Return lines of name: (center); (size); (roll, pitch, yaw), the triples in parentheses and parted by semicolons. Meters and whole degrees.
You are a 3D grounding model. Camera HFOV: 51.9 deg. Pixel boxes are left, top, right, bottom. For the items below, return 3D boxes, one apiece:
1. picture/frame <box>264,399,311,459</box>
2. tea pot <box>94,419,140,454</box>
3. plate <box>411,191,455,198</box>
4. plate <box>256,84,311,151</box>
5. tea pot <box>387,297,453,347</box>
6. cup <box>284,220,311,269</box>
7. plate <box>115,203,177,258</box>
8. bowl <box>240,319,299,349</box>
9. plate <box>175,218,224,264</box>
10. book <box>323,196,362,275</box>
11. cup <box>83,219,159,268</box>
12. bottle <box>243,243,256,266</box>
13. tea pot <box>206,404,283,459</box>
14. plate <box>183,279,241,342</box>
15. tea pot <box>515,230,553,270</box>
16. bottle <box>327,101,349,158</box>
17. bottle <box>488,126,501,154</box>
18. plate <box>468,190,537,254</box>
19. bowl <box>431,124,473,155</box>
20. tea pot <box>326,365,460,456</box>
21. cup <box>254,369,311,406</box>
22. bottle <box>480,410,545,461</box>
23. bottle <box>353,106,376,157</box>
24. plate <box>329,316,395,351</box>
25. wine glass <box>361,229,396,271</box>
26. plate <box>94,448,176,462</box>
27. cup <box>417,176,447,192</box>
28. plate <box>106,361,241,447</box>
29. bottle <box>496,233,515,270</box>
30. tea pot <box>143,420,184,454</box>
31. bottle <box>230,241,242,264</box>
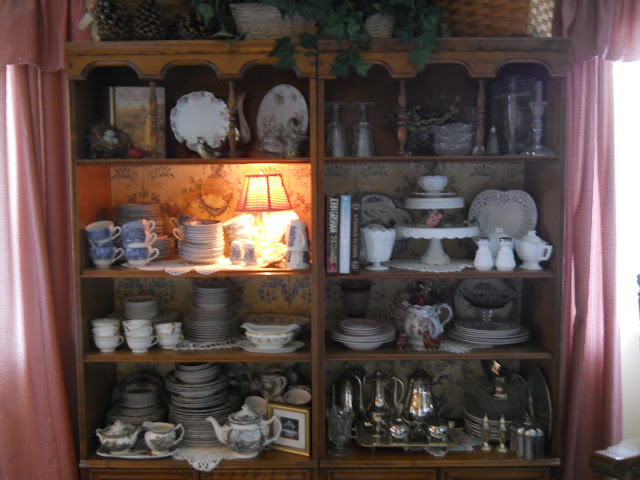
picture/frame: (-0.159, 0.940, 3.220); (0.277, 0.251, 0.028); (1, 4, 17)
tea pot: (-0.996, 0.967, 3.253); (0.212, 0.130, 0.140); (1, 4, -9)
plate: (0.558, -0.220, 3.225); (0.212, 0.021, 0.070); (-1, 7, 7)
plate: (-0.197, -0.598, 3.327); (0.273, 0.332, 0.289); (1, 8, -29)
tea pot: (0.518, 0.424, 3.349); (0.284, 0.183, 0.209); (2, 0, 3)
cup: (-0.112, 0.023, 3.193); (0.111, 0.233, 0.045); (-3, 7, -5)
plate: (-0.886, -0.060, 3.375); (0.349, 0.235, 0.235); (-4, 1, -41)
bowl: (-0.247, 0.476, 3.292); (0.279, 0.121, 0.162); (-2, 7, -1)
plate: (-0.599, 0.009, 3.316); (0.222, 0.213, 0.189); (-4, 7, -8)
book: (0.108, -0.024, 3.133); (0.172, 0.376, 0.038); (-3, 7, 1)
cup: (-0.966, 0.011, 3.213); (0.321, 0.204, 0.223); (-3, 5, -32)
bottle: (-0.349, 0.070, 3.244); (0.065, 0.115, 0.022); (-4, 7, -10)
tea pot: (-0.367, 0.927, 3.170); (0.412, 0.246, 0.251); (1, 11, 3)
plate: (-0.550, 0.366, 3.485); (0.313, 0.271, 0.296); (1, 4, -1)
tea pot: (1.035, 0.051, 3.271); (0.168, 0.172, 0.197); (0, 11, -15)
bottle: (0.082, -0.537, 3.209); (0.092, 0.267, 0.205); (-2, 7, 5)
bottle: (0.846, -0.482, 3.202); (0.070, 0.129, 0.052); (-4, 7, -14)
plate: (0.892, -0.096, 3.305); (0.351, 0.308, 0.089); (1, 3, 27)
bowl: (0.648, -0.478, 3.165); (0.173, 0.129, 0.164); (0, 1, 0)
tea pot: (0.369, 0.835, 3.379); (0.673, 0.399, 0.433); (-2, 7, 2)
cup: (-0.201, 0.767, 3.409); (0.233, 0.103, 0.170); (3, 21, 28)
bottle: (0.944, 0.966, 3.234); (0.255, 0.097, 0.192); (-1, 2, 23)
bottle: (0.209, -0.542, 3.210); (0.100, 0.266, 0.123); (-1, 7, 11)
plate: (0.213, 0.478, 3.308); (0.318, 0.127, 0.173); (-2, 7, 5)
wine glass: (0.268, 0.039, 3.241); (0.121, 0.207, 0.180); (-9, 10, -41)
plate: (-0.911, 1.048, 3.198); (0.211, 0.028, 0.126); (1, -4, -2)
cup: (0.572, -0.279, 3.297); (0.105, 0.063, 0.124); (-1, 3, 0)
plate: (-0.698, 0.822, 3.331); (0.508, 0.222, 0.486); (0, 3, -1)
bottle: (0.910, 0.068, 3.231); (0.099, 0.158, 0.130); (-1, 7, 16)
tea pot: (-0.761, 0.962, 3.203); (0.187, 0.115, 0.133); (4, -2, -12)
bottle: (-0.413, 0.064, 3.263); (0.066, 0.113, 0.037); (-2, 7, 5)
